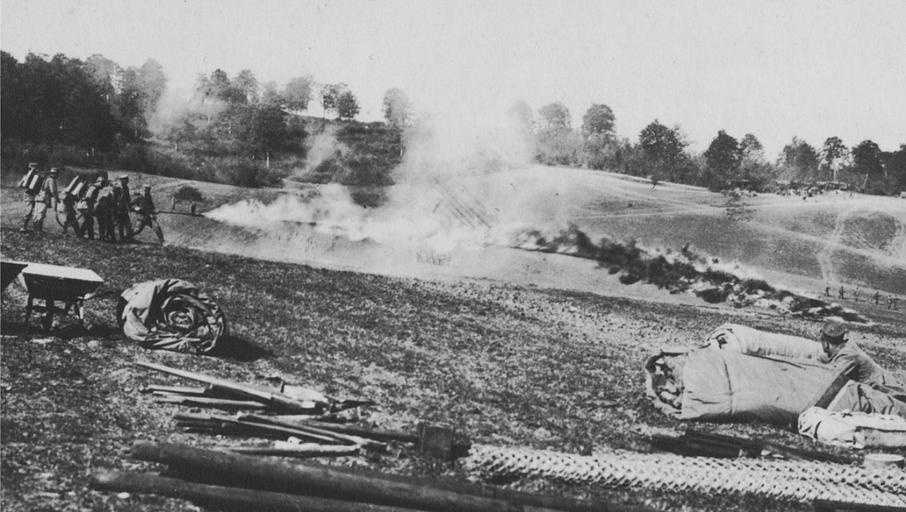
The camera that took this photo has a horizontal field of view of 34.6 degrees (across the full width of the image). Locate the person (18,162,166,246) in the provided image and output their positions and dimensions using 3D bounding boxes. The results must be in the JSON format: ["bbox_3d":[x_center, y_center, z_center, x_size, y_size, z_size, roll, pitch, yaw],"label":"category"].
[{"bbox_3d":[-6.082,-0.873,24.339,2.358,1.085,0.286,7,2,1],"label":"person"}]
